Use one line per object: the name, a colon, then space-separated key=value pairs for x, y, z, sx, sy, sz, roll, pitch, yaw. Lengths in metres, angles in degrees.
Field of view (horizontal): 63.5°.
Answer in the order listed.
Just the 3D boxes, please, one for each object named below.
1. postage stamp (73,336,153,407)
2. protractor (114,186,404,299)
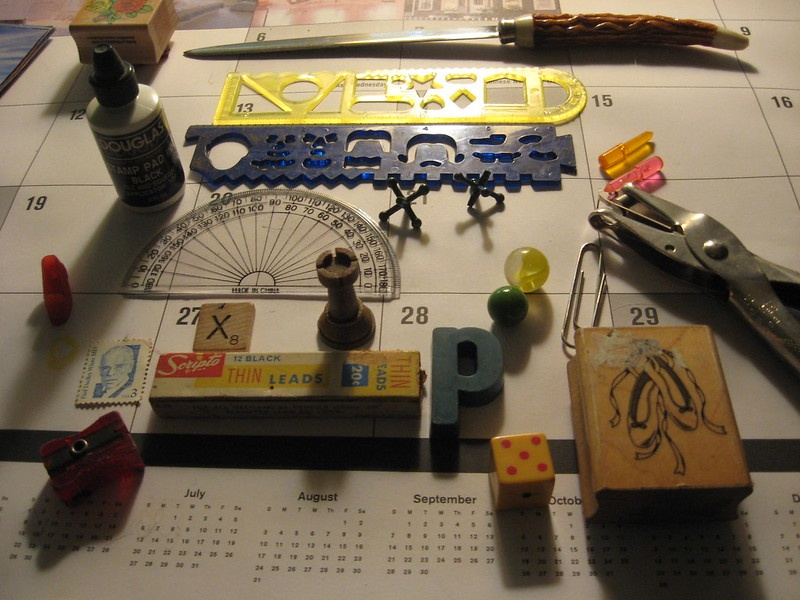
postage stamp: x=-0.970 y=0.249 z=2.172 sx=0.235 sy=0.031 sz=0.224 roll=-2 pitch=56 yaw=1
protractor: x=-0.511 y=-0.195 z=2.420 sx=1.007 sy=0.381 sz=0.352 roll=-4 pitch=16 yaw=5
